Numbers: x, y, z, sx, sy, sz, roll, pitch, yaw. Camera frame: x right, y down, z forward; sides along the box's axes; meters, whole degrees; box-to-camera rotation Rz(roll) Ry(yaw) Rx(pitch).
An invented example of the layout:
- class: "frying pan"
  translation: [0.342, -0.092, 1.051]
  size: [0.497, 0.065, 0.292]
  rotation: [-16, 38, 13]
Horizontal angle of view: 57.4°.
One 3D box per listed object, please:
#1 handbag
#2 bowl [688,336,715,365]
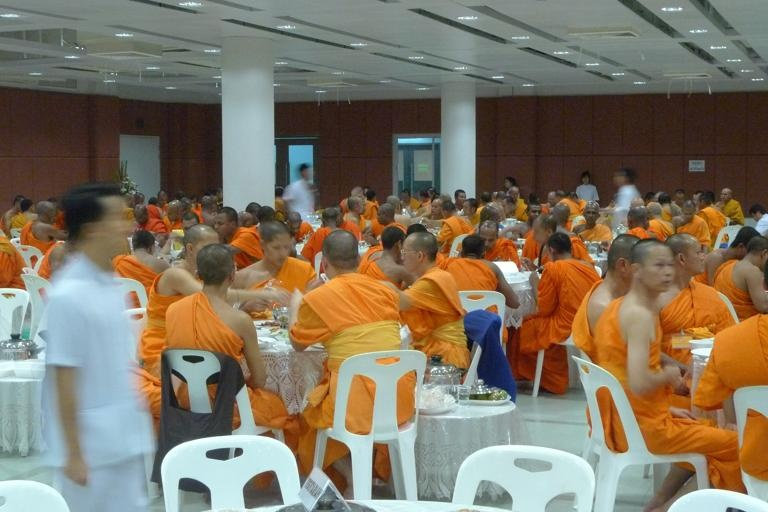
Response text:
- class: "handbag"
  translation: [-1.148, 0.979, 4.266]
  size: [0.579, 0.851, 0.279]
  rotation: [-1, 3, -9]
- class: "bowl"
  translation: [2.040, 0.616, 4.533]
  size: [0.137, 0.116, 0.378]
  rotation: [0, 3, 24]
